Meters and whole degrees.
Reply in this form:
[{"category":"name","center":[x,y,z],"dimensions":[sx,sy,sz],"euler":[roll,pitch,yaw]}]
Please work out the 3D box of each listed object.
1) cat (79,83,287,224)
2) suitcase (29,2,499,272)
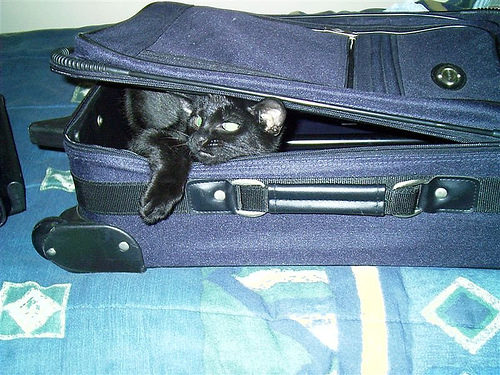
[{"category":"cat","center":[-0.215,-0.121,1.411],"dimensions":[0.630,0.157,0.369],"euler":[2,34,-1]},{"category":"suitcase","center":[0.154,-0.107,1.232],"dimensions":[1.372,0.369,0.708],"euler":[0,39,1]}]
